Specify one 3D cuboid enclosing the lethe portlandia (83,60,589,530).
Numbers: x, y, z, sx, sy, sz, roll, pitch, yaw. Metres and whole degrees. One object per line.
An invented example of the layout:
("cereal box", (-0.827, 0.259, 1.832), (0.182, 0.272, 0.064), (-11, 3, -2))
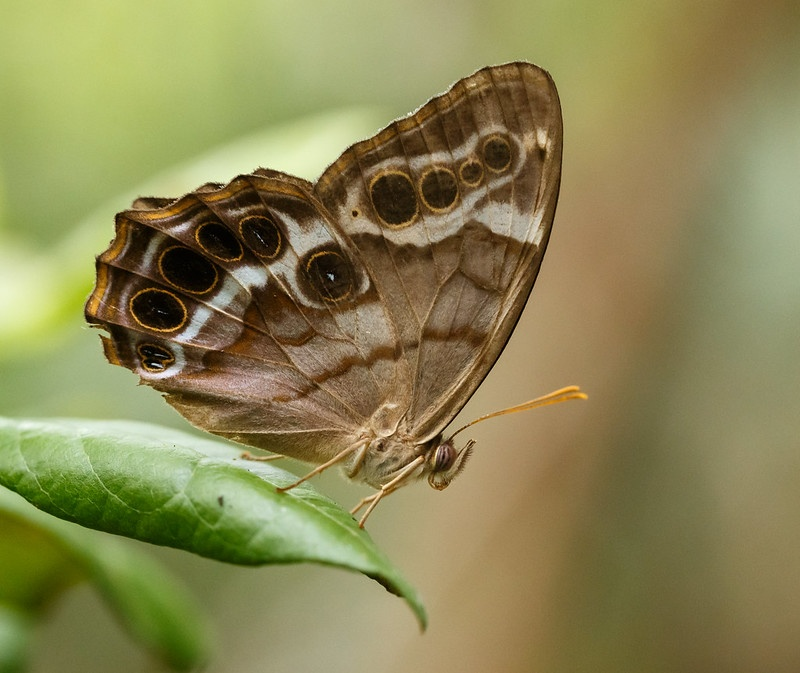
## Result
("lethe portlandia", (-0.132, -0.442, 3.907), (1.904, 1.638, 0.798), (7, 28, 8))
